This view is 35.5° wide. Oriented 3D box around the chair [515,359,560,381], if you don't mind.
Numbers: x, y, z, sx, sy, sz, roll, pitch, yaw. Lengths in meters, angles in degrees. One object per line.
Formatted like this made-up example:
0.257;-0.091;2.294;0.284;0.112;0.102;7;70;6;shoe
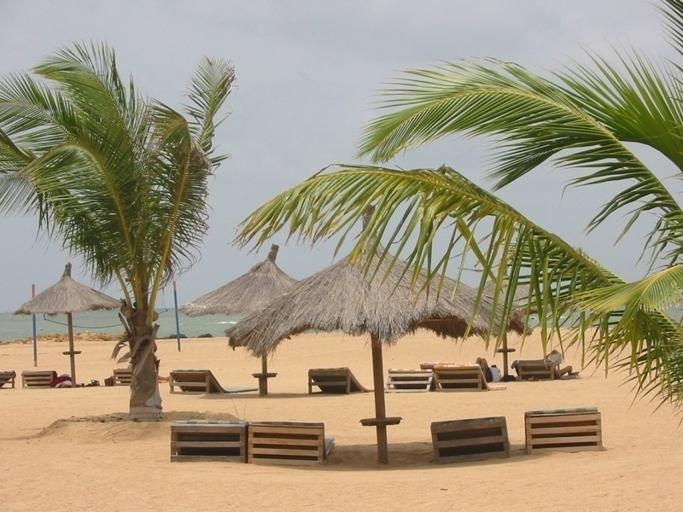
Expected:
4.864;2.826;26.547;0.988;0.452;0.442;-1;10;2;chair

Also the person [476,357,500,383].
3.598;2.794;26.164;0.648;0.766;0.535;-3;2;-4;person

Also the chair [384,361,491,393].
2.262;2.808;24.818;2.319;0.670;0.771;1;10;10;chair

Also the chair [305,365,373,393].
-0.086;2.881;24.627;1.316;0.682;0.838;-2;10;-3;chair

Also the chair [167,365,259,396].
-3.180;2.938;25.279;1.796;0.742;0.961;-2;10;-5;chair
